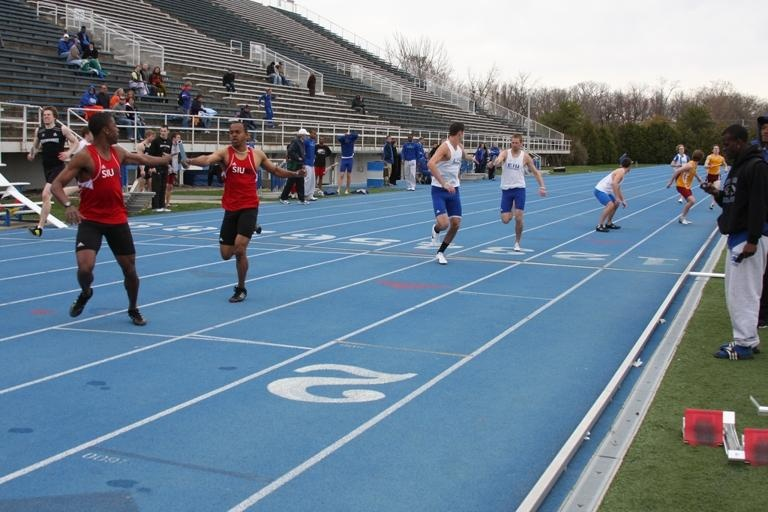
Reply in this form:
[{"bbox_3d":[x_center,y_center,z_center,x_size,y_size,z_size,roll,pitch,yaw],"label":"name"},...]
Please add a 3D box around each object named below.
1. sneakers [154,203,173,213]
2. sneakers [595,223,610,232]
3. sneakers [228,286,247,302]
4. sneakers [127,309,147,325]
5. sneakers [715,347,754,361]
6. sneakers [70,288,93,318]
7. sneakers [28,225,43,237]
[{"bbox_3d":[-6.895,-1.467,18.382,0.186,0.204,0.530,-2,0,-41],"label":"sneakers"},{"bbox_3d":[5.897,-0.740,15.642,0.516,0.222,0.169,-4,11,-28],"label":"sneakers"},{"bbox_3d":[-2.067,0.557,8.306,0.121,0.141,0.336,-1,-1,12],"label":"sneakers"},{"bbox_3d":[-2.939,0.747,7.129,0.373,0.158,0.128,11,15,43],"label":"sneakers"},{"bbox_3d":[3.667,1.020,6.202,0.414,0.160,0.162,2,-1,9],"label":"sneakers"},{"bbox_3d":[-3.839,0.612,7.476,0.162,0.379,0.150,34,-6,3],"label":"sneakers"},{"bbox_3d":[-7.786,-0.548,13.167,0.268,0.185,0.090,30,27,0],"label":"sneakers"}]
